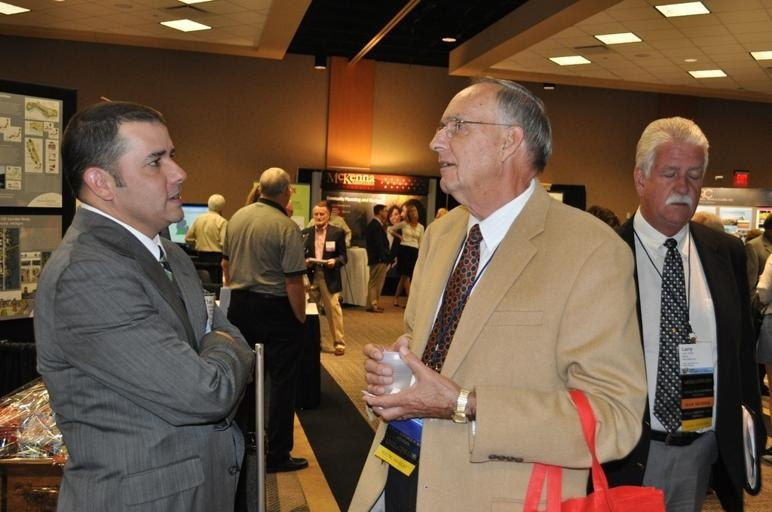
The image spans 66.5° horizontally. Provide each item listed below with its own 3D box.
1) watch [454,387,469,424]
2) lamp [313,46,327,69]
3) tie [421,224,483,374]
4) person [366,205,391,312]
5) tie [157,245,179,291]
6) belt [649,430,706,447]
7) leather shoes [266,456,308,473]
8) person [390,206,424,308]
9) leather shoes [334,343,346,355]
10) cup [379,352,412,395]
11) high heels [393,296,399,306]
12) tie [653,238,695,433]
[{"bbox_3d":[0.242,0.481,1.891,0.053,0.089,0.090,1,11,6],"label":"watch"},{"bbox_3d":[-1.310,-3.969,11.879,0.325,0.386,0.335,0,4,-6],"label":"lamp"},{"bbox_3d":[0.239,0.143,2.134,0.152,0.515,0.227,7,8,35],"label":"tie"},{"bbox_3d":[-0.157,0.162,10.292,0.387,1.645,0.648,3,6,-1],"label":"person"},{"bbox_3d":[-0.870,0.055,2.351,0.021,0.201,0.032,-39,24,-23],"label":"tie"},{"bbox_3d":[1.272,0.803,2.604,0.148,0.038,0.154,0,0,9],"label":"belt"},{"bbox_3d":[-0.720,1.531,4.323,0.290,0.134,0.119,-3,-1,-9],"label":"leather shoes"},{"bbox_3d":[0.369,-0.005,11.292,0.616,1.887,1.515,3,6,2],"label":"person"},{"bbox_3d":[-0.565,1.148,7.310,0.128,0.107,0.238,3,7,-3],"label":"leather shoes"},{"bbox_3d":[0.030,0.400,1.999,0.112,0.134,0.122,-1,-5,0],"label":"cup"},{"bbox_3d":[0.190,0.857,11.198,0.123,0.173,0.423,0,-7,-2],"label":"high heels"},{"bbox_3d":[1.296,0.351,2.664,0.145,0.832,0.252,6,7,25],"label":"tie"}]
